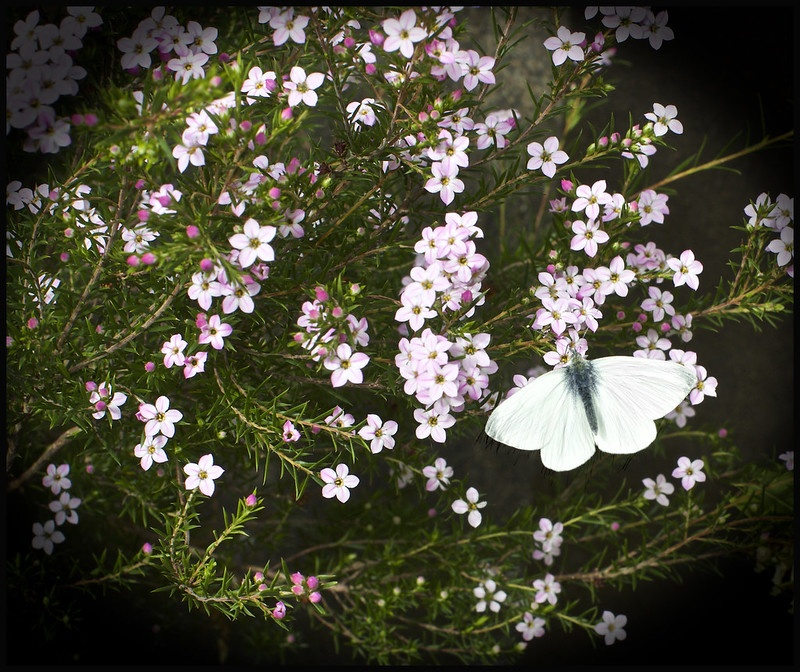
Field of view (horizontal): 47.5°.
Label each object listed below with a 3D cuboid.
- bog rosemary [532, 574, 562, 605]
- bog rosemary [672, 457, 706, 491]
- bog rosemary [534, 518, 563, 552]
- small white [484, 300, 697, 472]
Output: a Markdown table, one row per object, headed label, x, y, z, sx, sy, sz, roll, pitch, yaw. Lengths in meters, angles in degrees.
| label | x | y | z | sx | sy | sz | roll | pitch | yaw |
| --- | --- | --- | --- | --- | --- | --- | --- | --- | --- |
| bog rosemary | 0.345 | 0.605 | 2.153 | 0.060 | 0.076 | 0.078 | -2 | -40 | 9 |
| bog rosemary | 0.682 | 0.339 | 2.181 | 0.080 | 0.093 | 0.026 | 4 | -9 | -12 |
| bog rosemary | 0.350 | 0.469 | 2.167 | 0.068 | 0.061 | 0.093 | -1 | -41 | 8 |
| small white | 0.414 | 0.118 | 1.979 | 0.446 | 0.263 | 0.137 | -16 | 3 | -9 |
